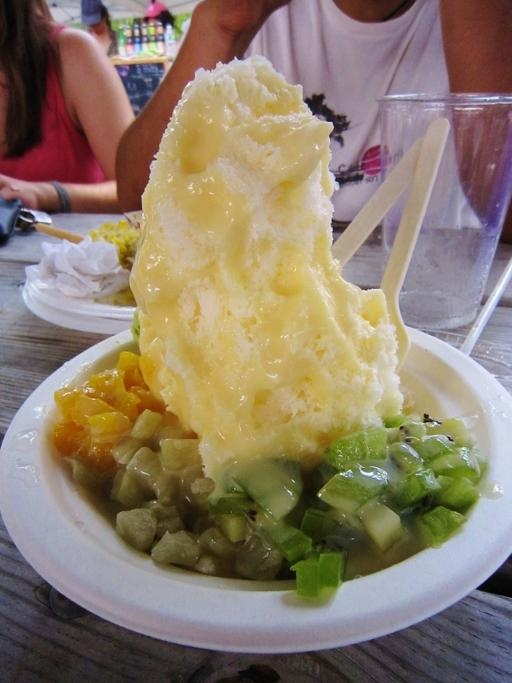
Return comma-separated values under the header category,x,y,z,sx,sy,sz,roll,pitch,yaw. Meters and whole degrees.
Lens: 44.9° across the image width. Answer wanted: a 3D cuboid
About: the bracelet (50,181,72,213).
category,x,y,z,sx,sy,sz,roll,pitch,yaw
bracelet,-0.828,-0.629,2.691,0.138,0.113,0.116,1,34,-3
